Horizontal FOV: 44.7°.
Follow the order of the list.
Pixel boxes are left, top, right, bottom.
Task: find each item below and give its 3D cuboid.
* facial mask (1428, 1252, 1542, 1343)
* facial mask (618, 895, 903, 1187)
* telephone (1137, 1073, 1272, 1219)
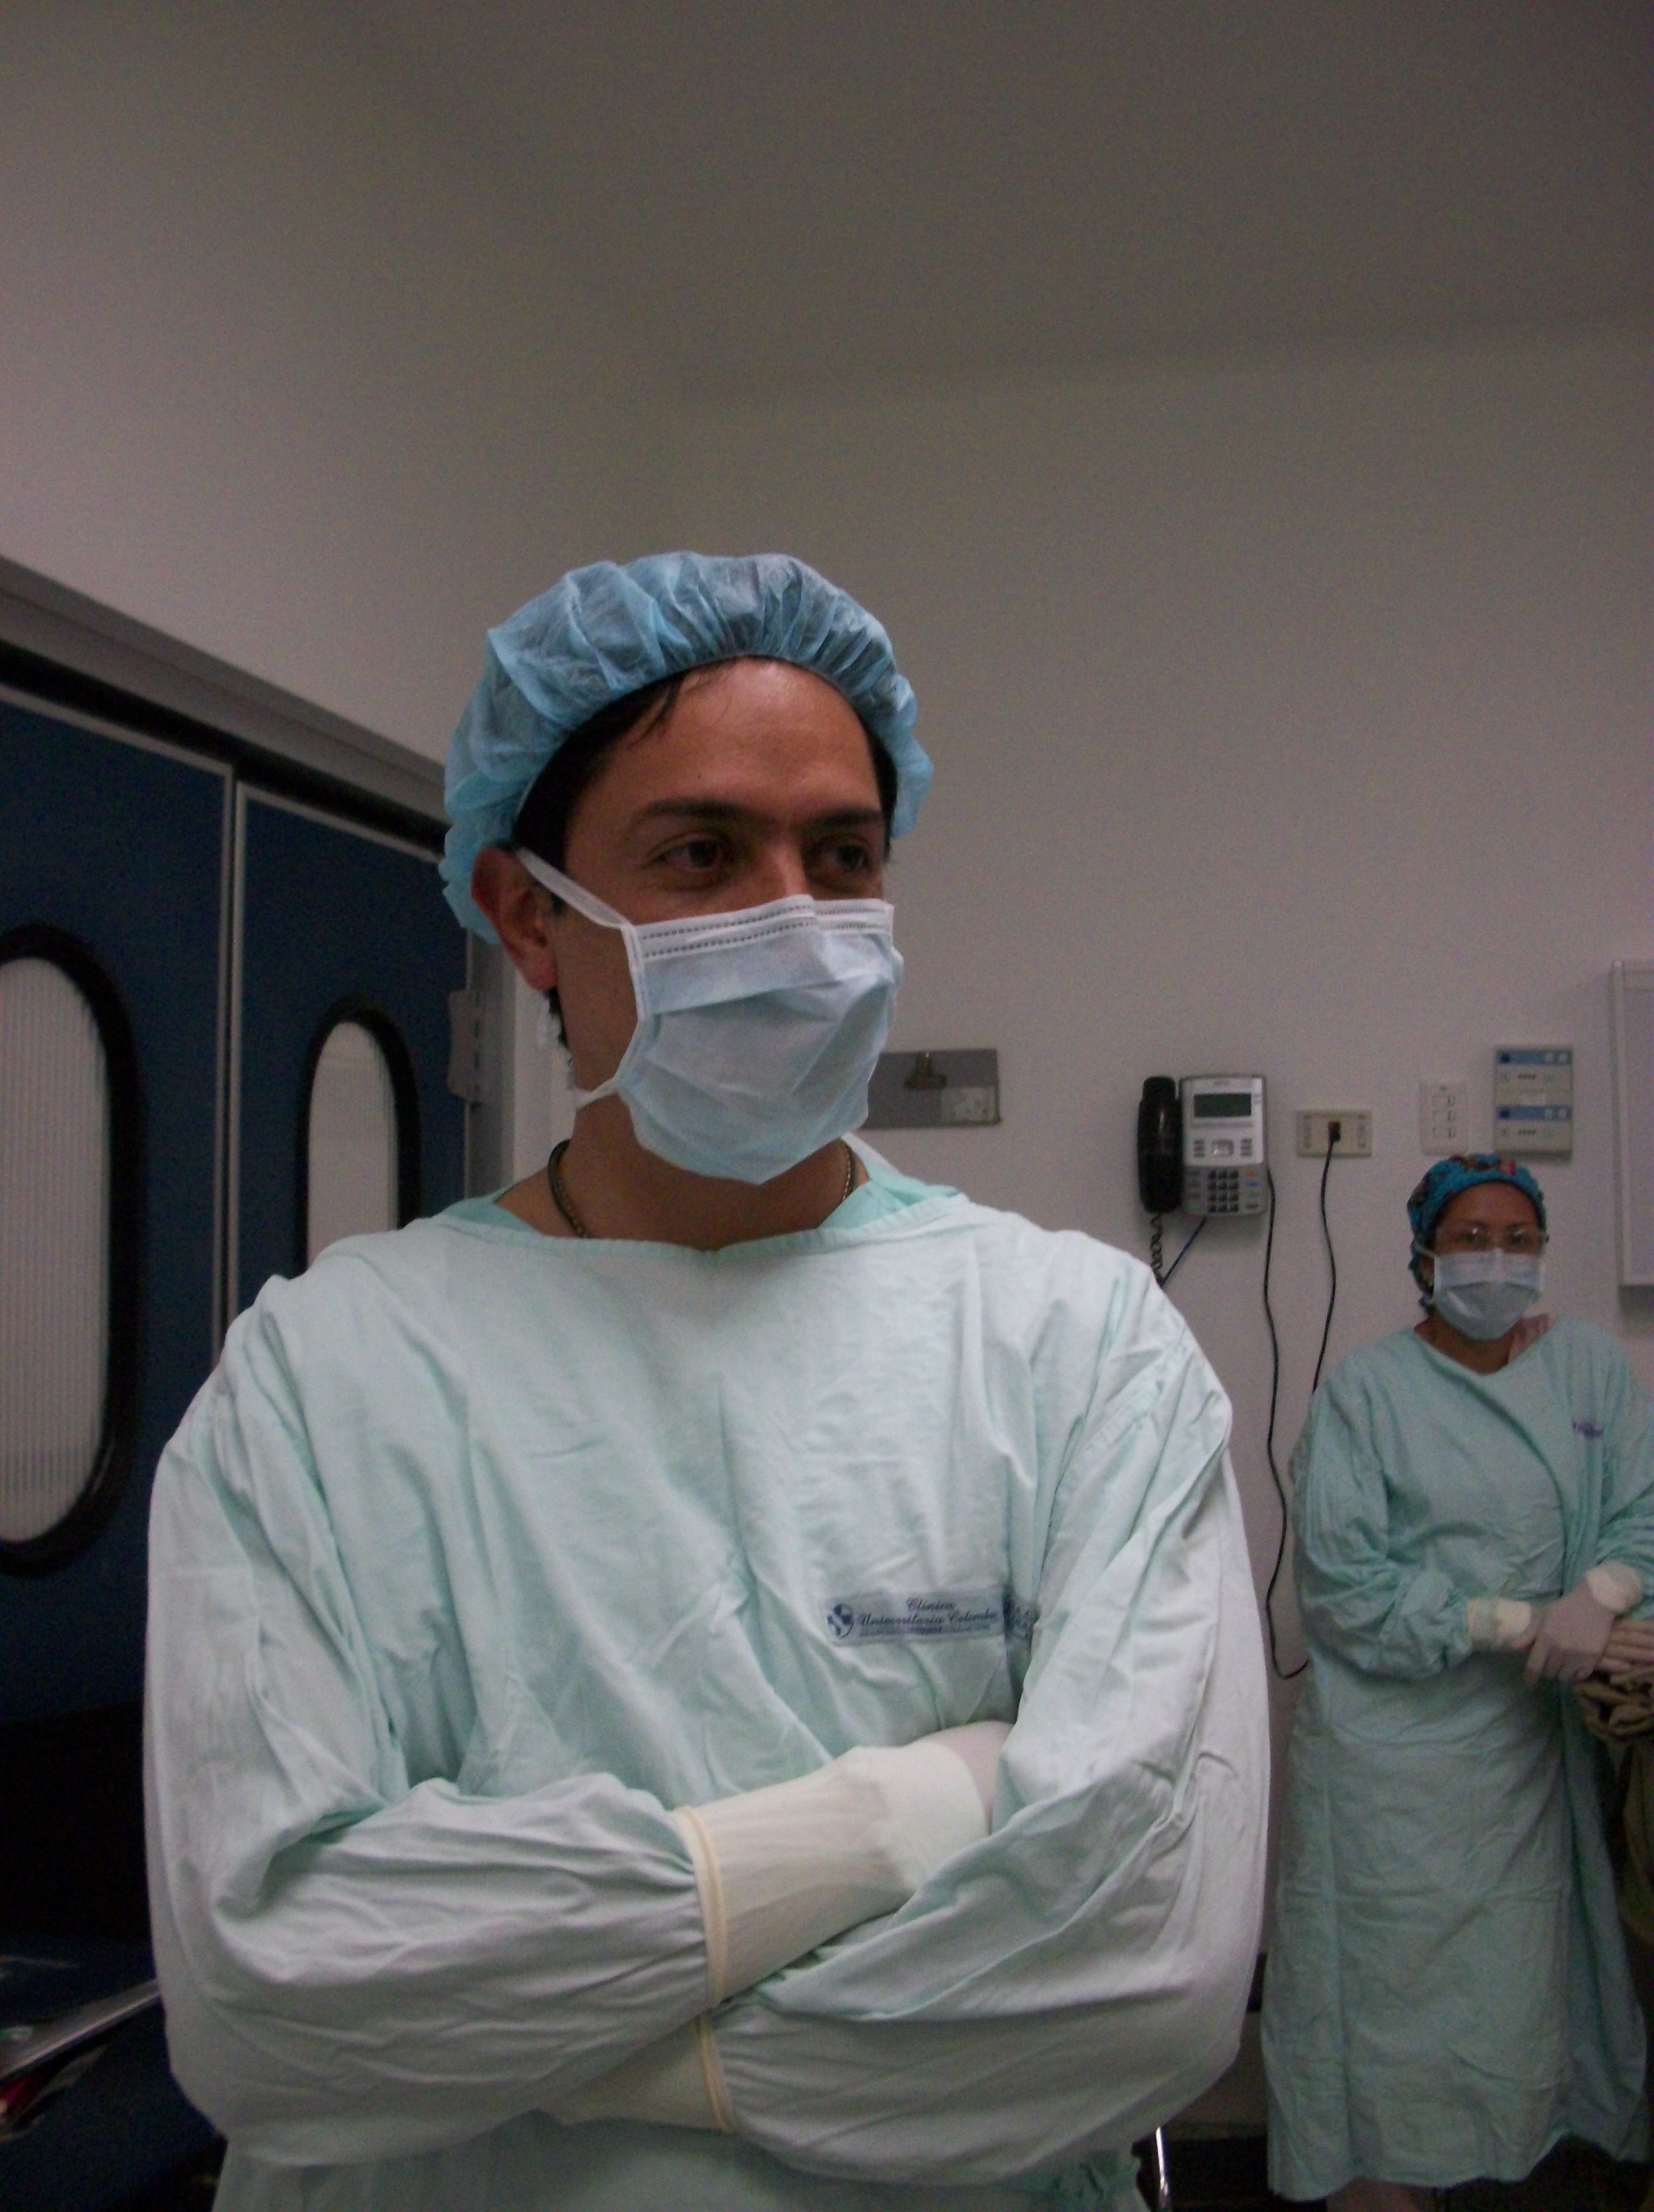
[{"bbox_3d":[0.867,0.254,2.678,0.127,0.106,0.126,0,-7,4],"label":"facial mask"},{"bbox_3d":[-0.030,-0.044,1.187,0.153,0.170,0.072,1,4,-24],"label":"facial mask"},{"bbox_3d":[0.549,0.053,2.900,0.201,0.194,0.065,-2,1,1],"label":"telephone"}]
